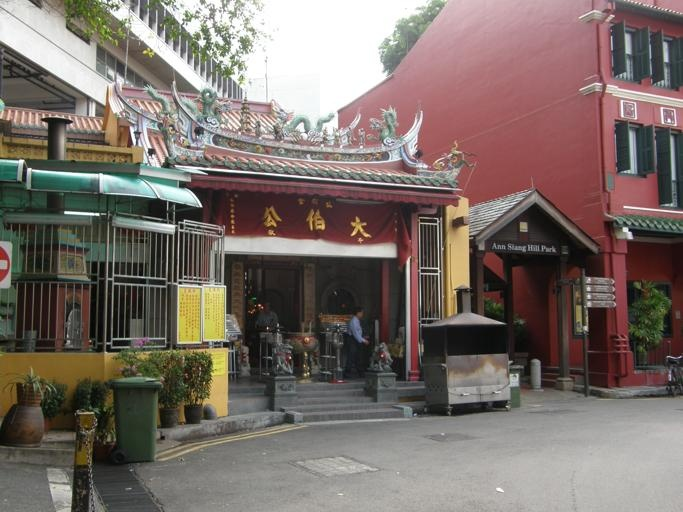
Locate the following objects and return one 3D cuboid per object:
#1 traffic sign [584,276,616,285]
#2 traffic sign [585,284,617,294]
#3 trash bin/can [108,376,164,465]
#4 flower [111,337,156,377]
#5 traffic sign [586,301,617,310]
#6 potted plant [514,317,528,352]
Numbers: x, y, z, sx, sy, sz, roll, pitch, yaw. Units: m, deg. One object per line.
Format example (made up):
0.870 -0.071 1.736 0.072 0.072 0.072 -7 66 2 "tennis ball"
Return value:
7.475 0.743 21.568 1.167 0.225 0.144 5 -12 -30 "traffic sign"
7.513 0.976 21.592 0.534 0.194 0.455 5 -7 -10 "traffic sign"
-3.627 2.899 13.046 0.839 1.477 0.372 2 -10 -20 "trash bin/can"
-4.027 1.985 14.566 0.691 0.967 0.605 6 -18 -24 "flower"
7.645 1.442 21.793 0.671 0.156 1.640 -7 -12 24 "traffic sign"
5.984 2.641 24.979 0.586 1.211 0.502 0 -10 -10 "potted plant"
